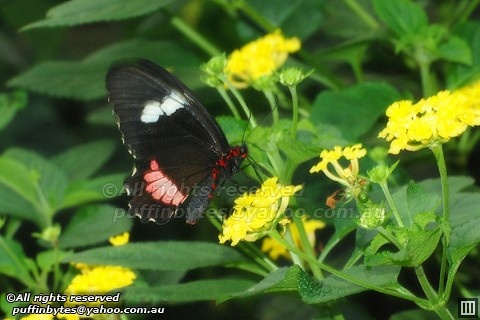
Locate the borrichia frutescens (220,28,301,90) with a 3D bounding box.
[{"bbox_3d":[0.082,-0.260,1.326,0.151,0.074,0.166,-8,-34,-29],"label":"borrichia frutescens"}]

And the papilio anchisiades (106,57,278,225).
[{"bbox_3d":[-0.173,-0.044,1.300,0.407,0.319,0.448,1,9,-13],"label":"papilio anchisiades"}]
